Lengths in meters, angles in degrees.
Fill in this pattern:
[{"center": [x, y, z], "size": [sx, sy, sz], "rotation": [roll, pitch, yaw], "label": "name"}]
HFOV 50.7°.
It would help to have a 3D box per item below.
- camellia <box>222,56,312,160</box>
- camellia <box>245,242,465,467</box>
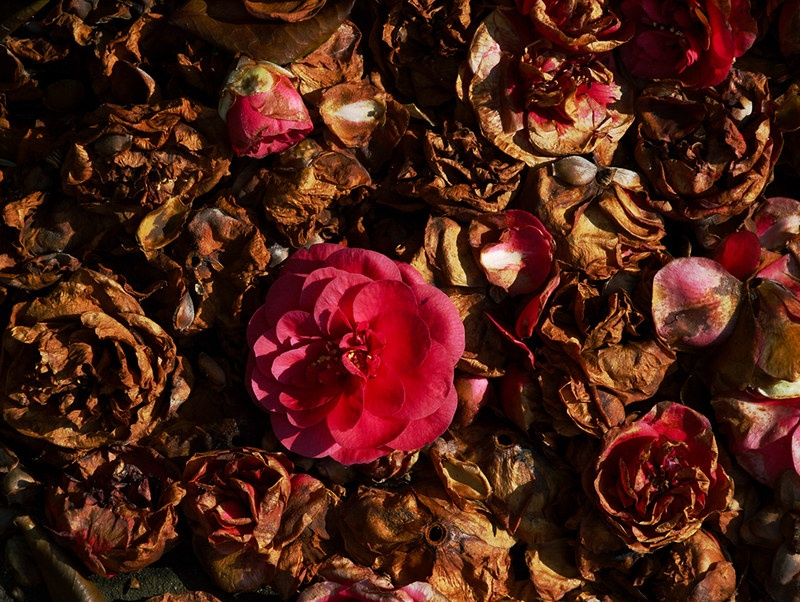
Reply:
[{"center": [-0.239, -0.338, 1.469], "size": [0.138, 0.096, 0.145], "rotation": [-22, 72, -12], "label": "camellia"}, {"center": [-0.083, 0.093, 1.441], "size": [0.330, 0.158, 0.397], "rotation": [7, 97, 7], "label": "camellia"}]
